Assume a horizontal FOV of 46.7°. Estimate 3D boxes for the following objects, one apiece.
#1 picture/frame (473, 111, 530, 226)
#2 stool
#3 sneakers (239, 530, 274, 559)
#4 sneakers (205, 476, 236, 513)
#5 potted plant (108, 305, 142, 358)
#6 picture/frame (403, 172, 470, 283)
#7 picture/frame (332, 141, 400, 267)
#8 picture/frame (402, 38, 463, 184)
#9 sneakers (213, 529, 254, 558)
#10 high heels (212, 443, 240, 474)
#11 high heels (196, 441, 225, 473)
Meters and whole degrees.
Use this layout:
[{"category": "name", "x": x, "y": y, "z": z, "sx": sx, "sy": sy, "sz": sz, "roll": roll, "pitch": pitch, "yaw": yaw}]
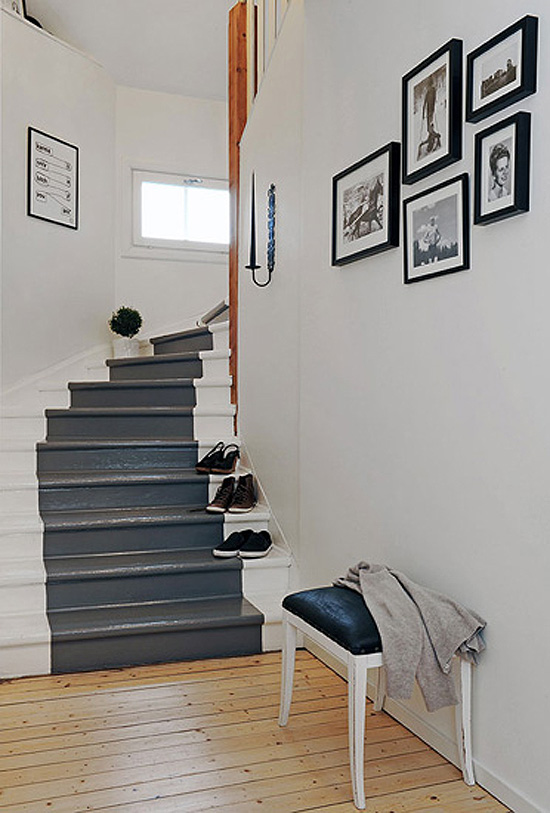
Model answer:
[{"category": "picture/frame", "x": 0.478, "y": -0.501, "z": 1.346, "sx": 0.037, "sy": 0.213, "sz": 0.163, "roll": 1, "pitch": -2, "yaw": -15}, {"category": "stool", "x": 0.243, "y": 0.601, "z": 1.591, "sx": 0.339, "sy": 0.453, "sz": 0.485, "roll": -2, "pitch": 7, "yaw": -23}, {"category": "sneakers", "x": -0.073, "y": 0.560, "z": 2.565, "sx": 0.101, "sy": 0.078, "sz": 0.214, "roll": 0, "pitch": -2, "yaw": 18}, {"category": "sneakers", "x": -0.232, "y": 0.381, "z": 2.764, "sx": 0.099, "sy": 0.146, "sz": 0.218, "roll": 0, "pitch": -2, "yaw": 5}, {"category": "potted plant", "x": -1.035, "y": -0.526, "z": 4.459, "sx": 0.207, "sy": 0.330, "sz": 0.235, "roll": -4, "pitch": 4, "yaw": -25}, {"category": "picture/frame", "x": 0.408, "y": -0.450, "z": 1.589, "sx": 0.025, "sy": 0.325, "sz": 0.314, "roll": -1, "pitch": 2, "yaw": -24}, {"category": "picture/frame", "x": 0.283, "y": -0.620, "z": 1.940, "sx": 0.048, "sy": 0.401, "sz": 0.451, "roll": 1, "pitch": -3, "yaw": -19}, {"category": "picture/frame", "x": 0.387, "y": -0.735, "z": 1.617, "sx": 0.036, "sy": 0.302, "sz": 0.262, "roll": 1, "pitch": -2, "yaw": -19}, {"category": "sneakers", "x": -0.175, "y": 0.558, "z": 2.573, "sx": 0.062, "sy": 0.067, "sz": 0.183, "roll": -3, "pitch": -1, "yaw": 23}, {"category": "high heels", "x": -0.234, "y": 0.250, "z": 3.025, "sx": 0.117, "sy": 0.130, "sz": 0.318, "roll": 0, "pitch": -2, "yaw": -1}, {"category": "high heels", "x": -0.290, "y": 0.232, "z": 2.998, "sx": 0.065, "sy": 0.081, "sz": 0.200, "roll": -6, "pitch": 21, "yaw": 24}]
